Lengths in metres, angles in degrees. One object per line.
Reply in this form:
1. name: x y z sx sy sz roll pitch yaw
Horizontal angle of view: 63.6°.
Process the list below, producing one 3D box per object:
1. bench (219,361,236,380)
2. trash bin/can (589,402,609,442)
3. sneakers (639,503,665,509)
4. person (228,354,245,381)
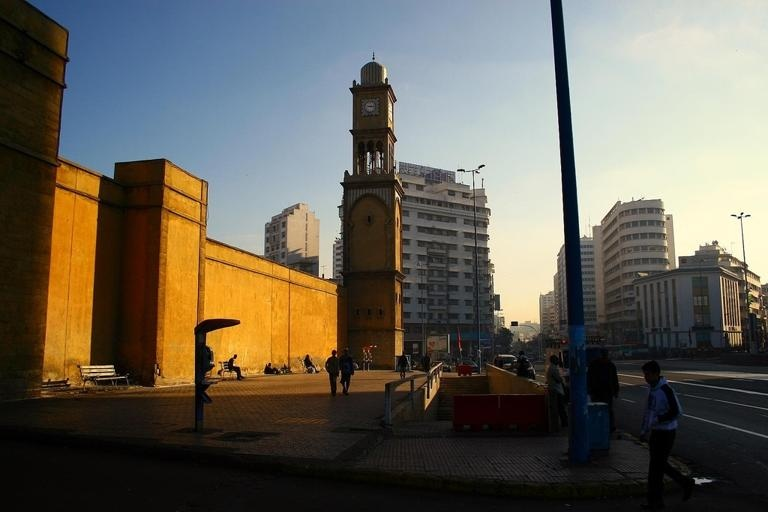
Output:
1. bench: -8.482 6.218 33.643 0.901 1.319 0.890 -6 -8 29
2. trash bin/can: 4.826 3.723 13.887 0.460 0.816 0.196 0 -12 -2
3. sneakers: 4.878 4.551 11.260 0.368 0.108 0.170 -6 -14 23
4. person: -8.111 6.011 33.826 0.813 1.530 3.436 3 -13 -14
